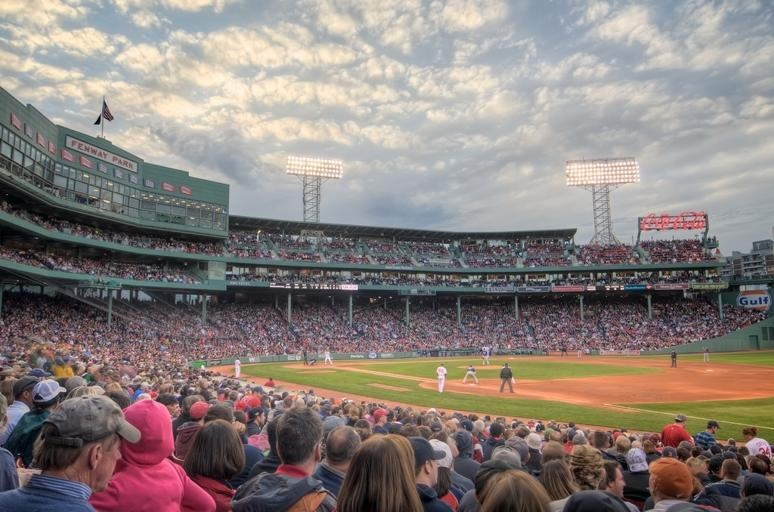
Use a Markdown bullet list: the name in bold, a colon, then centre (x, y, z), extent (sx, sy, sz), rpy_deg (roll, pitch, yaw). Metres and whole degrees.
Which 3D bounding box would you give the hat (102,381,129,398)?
- **hat**: centre (-10.435, 5.172, 25.797), extent (0.845, 0.264, 0.589), rpy_deg (11, 3, -9)

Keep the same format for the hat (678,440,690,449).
- **hat**: centre (12.253, 7.710, 27.387), extent (0.386, 0.357, 0.424), rpy_deg (-3, -23, 17)

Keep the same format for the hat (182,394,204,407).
- **hat**: centre (-7.695, 5.707, 26.432), extent (0.460, 0.499, 0.609), rpy_deg (-1, 0, 36)

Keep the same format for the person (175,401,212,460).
- **person**: centre (-7.302, 6.407, 24.912), extent (0.897, 1.805, 1.420), rpy_deg (28, -24, -26)

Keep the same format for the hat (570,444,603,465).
- **hat**: centre (7.114, 7.061, 23.736), extent (0.987, 0.455, 0.657), rpy_deg (2, -8, -9)

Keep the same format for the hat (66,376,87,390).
- **hat**: centre (-12.105, 4.926, 26.010), extent (0.657, 0.489, 0.933), rpy_deg (-4, -4, 23)

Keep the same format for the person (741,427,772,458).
- **person**: centre (16.298, 8.240, 29.464), extent (0.991, 0.778, 2.427), rpy_deg (-15, 15, 24)

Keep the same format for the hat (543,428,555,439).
- **hat**: centre (7.088, 7.775, 29.189), extent (0.367, 0.438, 0.445), rpy_deg (8, -48, 0)

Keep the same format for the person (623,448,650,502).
- **person**: centre (9.626, 8.267, 25.428), extent (1.230, 0.919, 1.881), rpy_deg (3, 12, 15)

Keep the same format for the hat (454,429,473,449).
- **hat**: centre (2.946, 7.036, 25.743), extent (0.756, 0.664, 0.538), rpy_deg (-7, -9, -19)

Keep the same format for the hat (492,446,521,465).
- **hat**: centre (4.228, 7.086, 23.551), extent (0.692, 0.842, 0.939), rpy_deg (-10, -13, 42)

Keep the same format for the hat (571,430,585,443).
- **hat**: centre (7.973, 7.534, 27.777), extent (0.489, 0.576, 0.623), rpy_deg (6, 1, 21)

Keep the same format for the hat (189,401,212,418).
- **hat**: centre (-7.121, 5.897, 25.709), extent (0.589, 0.379, 0.803), rpy_deg (8, 4, 29)
